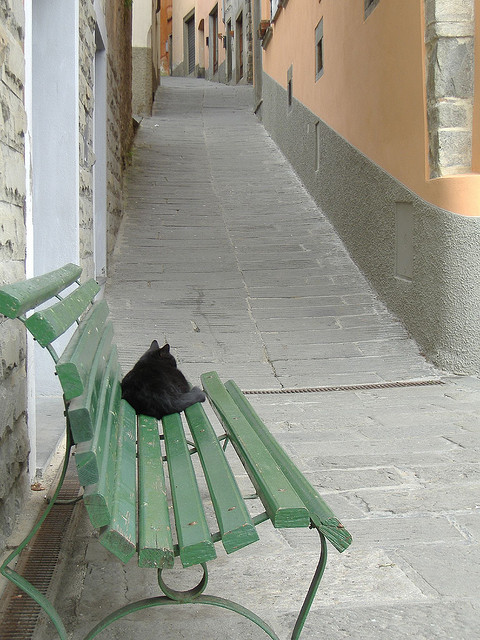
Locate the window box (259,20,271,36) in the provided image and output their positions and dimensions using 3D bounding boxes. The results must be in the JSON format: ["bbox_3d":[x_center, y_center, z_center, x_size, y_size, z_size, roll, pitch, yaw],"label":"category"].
[{"bbox_3d":[0.570,-6.756,12.774,0.304,0.382,0.247,-2,1,-2],"label":"window box"}]

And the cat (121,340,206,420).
[{"bbox_3d":[-0.340,0.237,2.139,0.238,0.293,0.335,-24,-12,40],"label":"cat"}]
